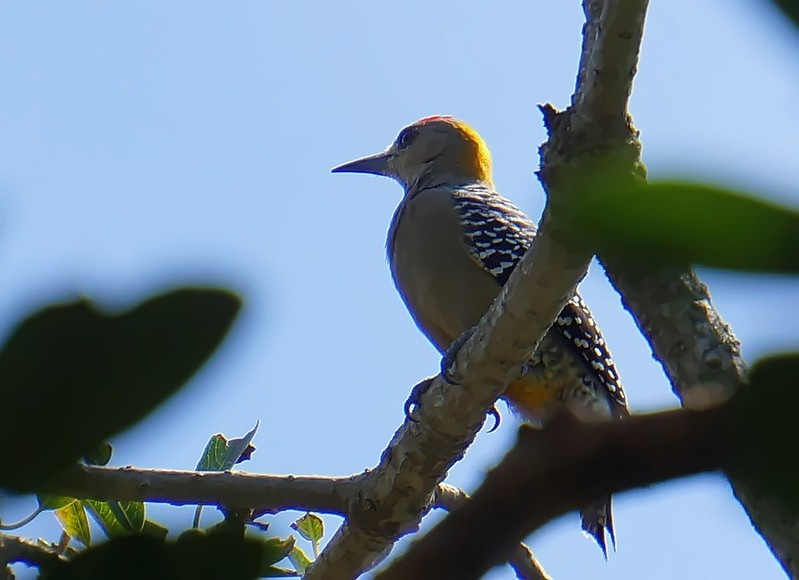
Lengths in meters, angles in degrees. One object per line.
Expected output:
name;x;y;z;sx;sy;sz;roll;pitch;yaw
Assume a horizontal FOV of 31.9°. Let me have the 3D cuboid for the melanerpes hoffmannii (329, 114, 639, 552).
melanerpes hoffmannii;0.296;0.045;4.974;0.971;1.470;0.572;5;-33;-9
